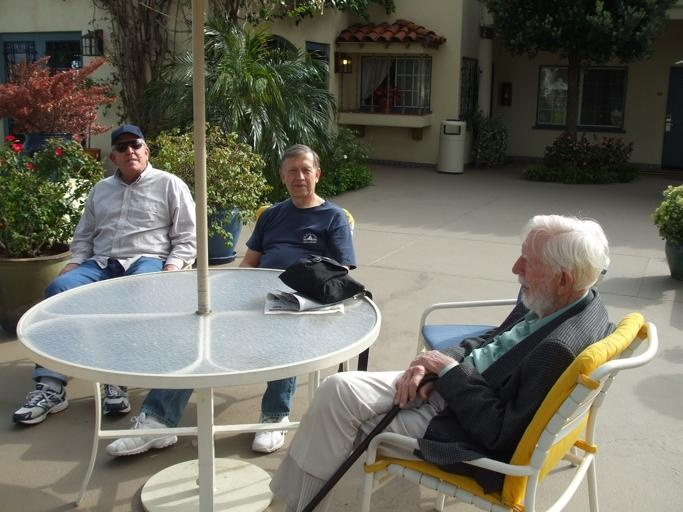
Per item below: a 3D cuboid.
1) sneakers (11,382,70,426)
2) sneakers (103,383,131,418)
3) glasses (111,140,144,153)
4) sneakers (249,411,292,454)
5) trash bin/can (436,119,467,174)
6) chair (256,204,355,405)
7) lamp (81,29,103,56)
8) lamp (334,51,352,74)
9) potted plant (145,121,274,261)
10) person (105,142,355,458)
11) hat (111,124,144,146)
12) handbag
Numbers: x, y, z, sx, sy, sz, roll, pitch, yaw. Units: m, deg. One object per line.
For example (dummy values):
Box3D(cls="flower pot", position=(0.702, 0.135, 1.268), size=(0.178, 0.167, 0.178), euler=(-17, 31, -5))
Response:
Box3D(cls="sneakers", position=(-1.691, 0.817, 3.208), size=(0.129, 0.182, 0.346), euler=(4, 6, 13))
Box3D(cls="sneakers", position=(-1.307, 0.794, 3.297), size=(0.153, 0.083, 0.273), euler=(3, 16, -21))
Box3D(cls="glasses", position=(-1.349, -0.697, 3.629), size=(0.099, 0.039, 0.114), euler=(-13, -12, -10))
Box3D(cls="sneakers", position=(-0.366, 0.940, 3.039), size=(0.116, 0.148, 0.357), euler=(1, -5, 5))
Box3D(cls="trash bin/can", position=(2.493, -2.435, 12.902), size=(0.598, 1.163, 0.348), euler=(-1, 12, 7))
Box3D(cls="chair", position=(-0.267, 0.224, 3.518), size=(0.755, 1.111, 0.566), euler=(3, 5, 23))
Box3D(cls="lamp", position=(-4.229, -3.604, 9.708), size=(0.357, 0.542, 0.287), euler=(8, 19, 21))
Box3D(cls="lamp", position=(0.034, -4.335, 12.937), size=(0.397, 0.661, 0.445), euler=(1, 15, 6))
Box3D(cls="potted plant", position=(-1.246, -0.487, 5.809), size=(0.742, 0.990, 0.858), euler=(6, -5, -23))
Box3D(cls="person", position=(-0.451, 0.118, 3.130), size=(0.790, 1.684, 1.342), euler=(0, -4, 27))
Box3D(cls="hat", position=(-1.370, -0.793, 3.663), size=(0.160, 0.229, 0.216), euler=(-2, 18, -11))
Box3D(cls="handbag", position=(0.029, 0.078, 2.714), size=(0.477, 0.175, 0.454), euler=(4, 13, 19))
